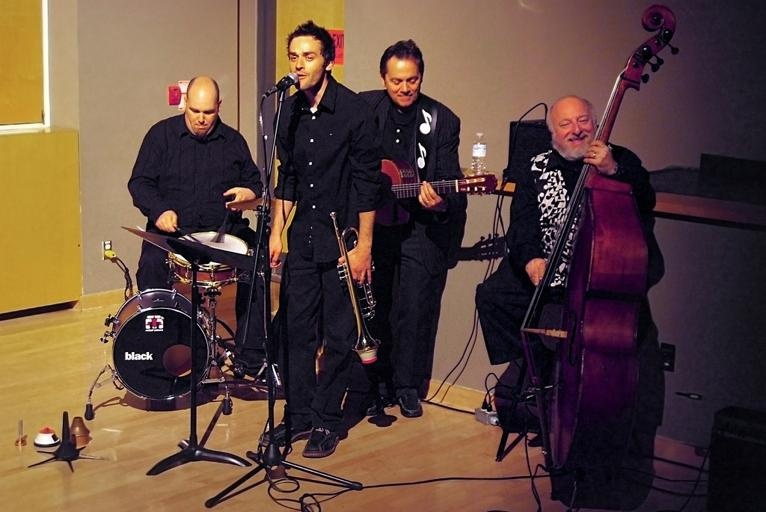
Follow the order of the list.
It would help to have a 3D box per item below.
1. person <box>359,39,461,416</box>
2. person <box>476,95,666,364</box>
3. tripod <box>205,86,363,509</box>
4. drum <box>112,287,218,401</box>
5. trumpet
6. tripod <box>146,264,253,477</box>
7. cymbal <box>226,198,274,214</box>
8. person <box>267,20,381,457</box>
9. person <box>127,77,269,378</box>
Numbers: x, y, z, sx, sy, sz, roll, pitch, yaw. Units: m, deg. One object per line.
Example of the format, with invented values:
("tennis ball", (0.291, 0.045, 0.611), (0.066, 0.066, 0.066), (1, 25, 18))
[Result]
("person", (0.222, -0.198, 4.822), (0.764, 2.600, 0.590), (0, 8, -15))
("person", (1.052, -0.147, 4.232), (1.043, 1.544, 0.729), (-2, 8, 14))
("tripod", (-0.640, 0.155, 4.176), (0.882, 2.227, 1.187), (-2, 7, -29))
("drum", (-1.363, 0.567, 4.620), (0.618, 0.733, 0.393), (4, 11, -6))
("trumpet", (-0.045, 0.206, 4.061), (0.208, 0.955, 0.362), (-11, -6, 2))
("tripod", (-1.080, 0.576, 4.227), (0.454, 1.216, 0.495), (0, 5, -19))
("cymbal", (-0.871, -0.336, 4.801), (0.253, 0.082, 0.187), (-3, 2, -22))
("person", (-0.378, -0.049, 4.309), (0.607, 2.507, 0.479), (7, 19, 19))
("person", (-1.312, -0.221, 5.301), (0.923, 2.020, 1.162), (-1, 20, -12))
